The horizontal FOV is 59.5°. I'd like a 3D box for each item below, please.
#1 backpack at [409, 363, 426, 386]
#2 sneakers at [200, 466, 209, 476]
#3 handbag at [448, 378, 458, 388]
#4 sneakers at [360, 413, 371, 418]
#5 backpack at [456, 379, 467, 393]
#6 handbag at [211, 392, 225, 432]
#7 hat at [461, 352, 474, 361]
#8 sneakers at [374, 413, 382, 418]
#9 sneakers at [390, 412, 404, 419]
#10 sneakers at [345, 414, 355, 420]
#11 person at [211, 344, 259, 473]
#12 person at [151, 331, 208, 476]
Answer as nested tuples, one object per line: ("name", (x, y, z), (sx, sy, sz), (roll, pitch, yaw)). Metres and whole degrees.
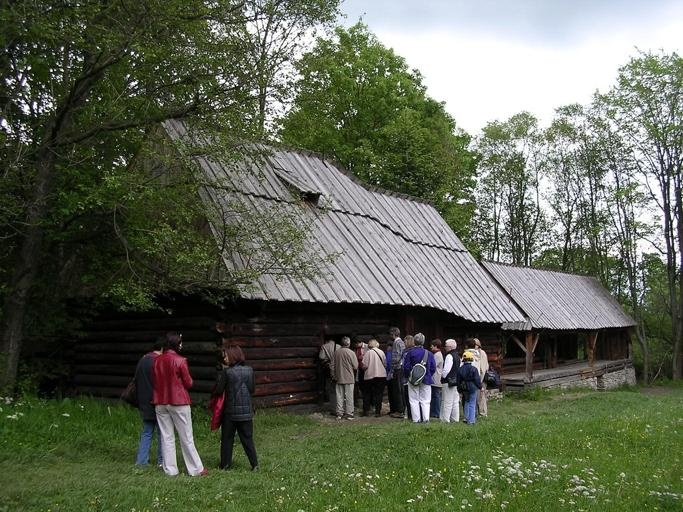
("backpack", (1.884, 2.933, 14.771), (0.334, 0.520, 0.175), (20, 0, 30))
("sneakers", (-2.442, 3.824, 10.607), (0.113, 0.062, 0.163), (0, -3, 9))
("handbag", (2.770, 3.167, 14.883), (0.183, 0.203, 0.059), (1, -28, 5))
("sneakers", (0.641, 4.216, 15.809), (0.236, 0.185, 0.088), (10, -18, -14))
("backpack", (2.982, 3.229, 14.747), (0.183, 0.275, 0.271), (0, -3, -12))
("handbag", (-2.231, 2.807, 10.846), (0.236, 0.630, 0.207), (0, -9, -3))
("hat", (3.150, 2.475, 14.850), (0.277, 0.236, 0.259), (-2, -10, 9))
("sneakers", (0.973, 4.232, 15.856), (0.124, 0.095, 0.071), (-14, 14, -8))
("sneakers", (1.507, 4.263, 15.957), (0.314, 0.169, 0.132), (1, -15, 20))
("sneakers", (0.212, 4.135, 15.304), (0.143, 0.055, 0.214), (0, -2, 13))
("person", (-1.920, 2.787, 10.946), (0.800, 2.196, 0.422), (1, -8, -10))
("person", (-2.922, 2.637, 10.673), (0.804, 2.474, 0.674), (6, -11, -36))
